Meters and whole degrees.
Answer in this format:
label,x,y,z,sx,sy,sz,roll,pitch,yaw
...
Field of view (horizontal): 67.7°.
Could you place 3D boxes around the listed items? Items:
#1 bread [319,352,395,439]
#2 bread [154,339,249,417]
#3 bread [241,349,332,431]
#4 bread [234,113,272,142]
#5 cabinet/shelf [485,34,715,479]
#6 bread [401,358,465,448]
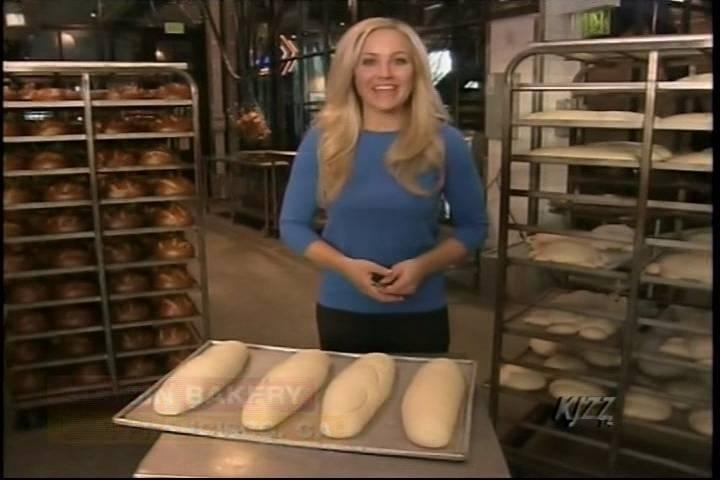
label,x,y,z,sx,sy,sz,roll,pitch,yaw
bread,-0.005,0.349,1.223,0.112,0.059,0.194,26,39,27
bread,-0.366,0.341,1.320,0.220,0.071,0.115,-39,69,-19
bread,-0.157,0.355,1.272,0.216,0.066,0.114,-34,54,-30
bread,-0.239,-0.256,1.218,0.066,0.067,0.018,-32,15,-4
cabinet/shelf,0.583,0.062,1.288,0.529,1.056,0.157,-1,12,11
bread,0.168,0.362,1.213,0.109,0.058,0.184,10,40,21
